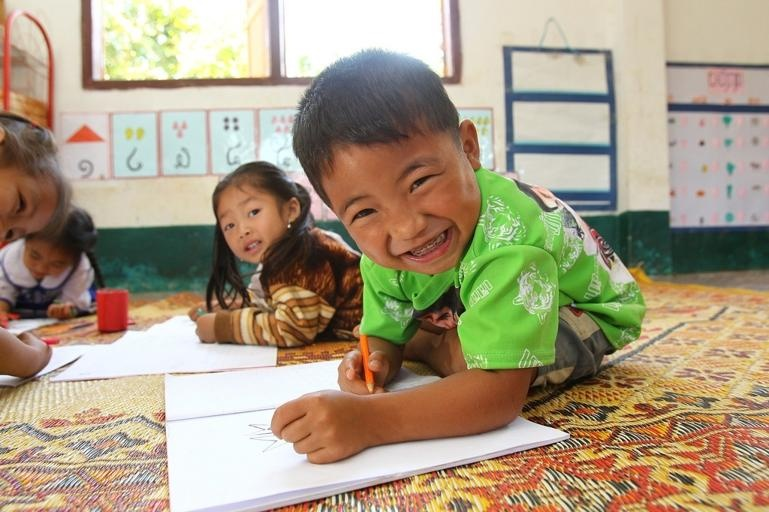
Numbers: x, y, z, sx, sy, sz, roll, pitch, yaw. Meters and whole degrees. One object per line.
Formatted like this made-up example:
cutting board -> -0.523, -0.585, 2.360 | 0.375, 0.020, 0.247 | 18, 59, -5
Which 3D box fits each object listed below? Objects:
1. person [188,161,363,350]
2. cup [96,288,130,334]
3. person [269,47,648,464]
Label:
person -> -0.363, -0.008, 2.238 | 0.805, 0.651, 0.651 | -2, 10, -33
cup -> -1.046, 0.210, 2.295 | 0.167, 0.138, 0.165 | 1, 1, 0
person -> 0.124, -0.052, 1.621 | 0.750, 0.896, 1.161 | -1, 7, 40
